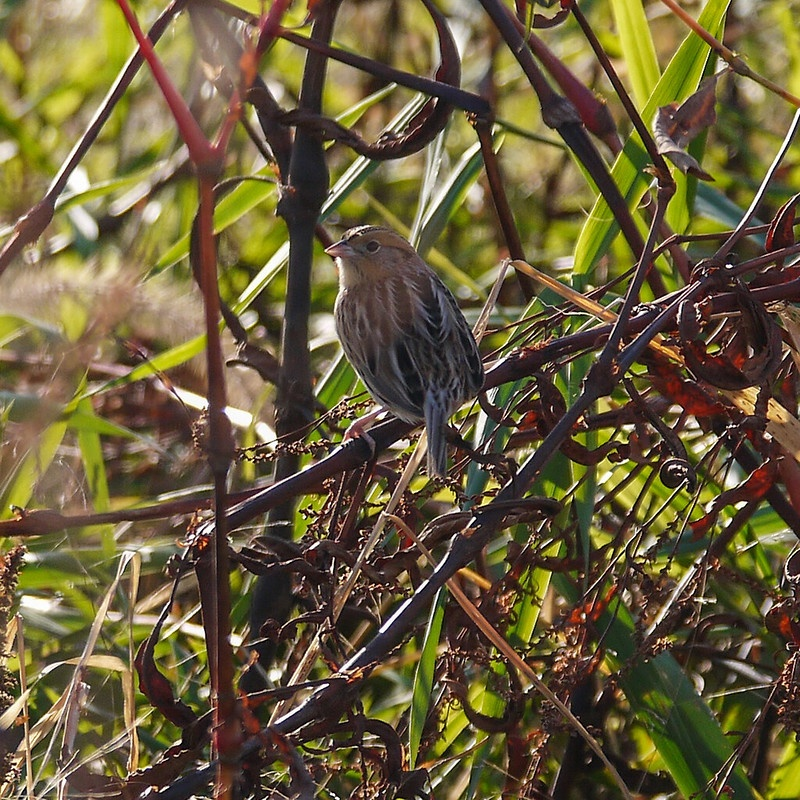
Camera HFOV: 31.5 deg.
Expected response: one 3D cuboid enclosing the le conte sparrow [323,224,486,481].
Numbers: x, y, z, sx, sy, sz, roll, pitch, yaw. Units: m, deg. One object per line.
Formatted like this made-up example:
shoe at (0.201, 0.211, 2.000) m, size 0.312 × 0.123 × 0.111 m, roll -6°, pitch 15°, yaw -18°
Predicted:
le conte sparrow at (0.004, -0.124, 2.944) m, size 0.259 × 0.613 × 0.336 m, roll -13°, pitch -64°, yaw -6°
